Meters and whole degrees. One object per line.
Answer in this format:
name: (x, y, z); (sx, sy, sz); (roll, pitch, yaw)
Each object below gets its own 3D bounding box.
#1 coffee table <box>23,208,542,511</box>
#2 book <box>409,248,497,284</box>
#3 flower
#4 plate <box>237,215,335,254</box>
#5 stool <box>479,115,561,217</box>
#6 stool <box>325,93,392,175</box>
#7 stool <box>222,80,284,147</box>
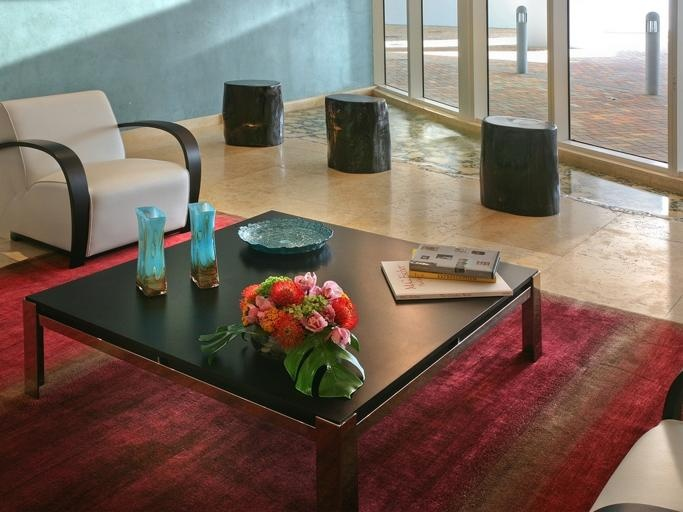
coffee table: (-0.202, 0.301, 2.151); (1.571, 0.472, 1.464); (13, 25, 34)
book: (0.475, 0.027, 2.192); (0.350, 0.059, 0.332); (5, 14, 10)
flower: (-0.156, 0.209, 1.567); (0.520, 0.261, 0.309); (12, 25, 30)
plate: (-0.276, -0.116, 2.629); (0.475, 0.044, 0.465); (9, -14, -27)
stool: (1.474, -0.761, 4.207); (0.476, 0.697, 0.797); (-23, 31, -24)
stool: (0.228, -1.312, 5.380); (0.725, 0.694, 0.751); (10, 29, 21)
stool: (-1.080, -1.726, 6.251); (0.787, 0.654, 0.742); (10, 23, 16)
